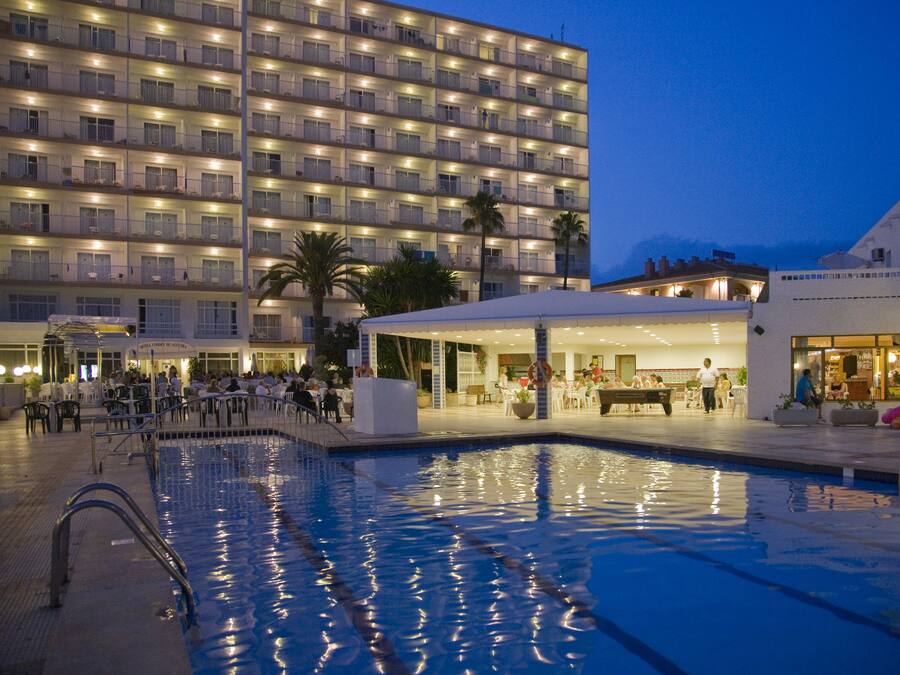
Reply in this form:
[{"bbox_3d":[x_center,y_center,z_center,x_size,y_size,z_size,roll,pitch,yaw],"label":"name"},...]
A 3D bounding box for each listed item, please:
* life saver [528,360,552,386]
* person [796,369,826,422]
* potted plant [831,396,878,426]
[{"bbox_3d":[2.595,0.966,23.821,0.751,0.762,0.479,-1,-3,28],"label":"life saver"},{"bbox_3d":[9.418,1.458,21.727,0.728,1.323,0.581,6,1,9],"label":"person"},{"bbox_3d":[10.202,1.915,20.906,0.758,0.522,1.010,-1,-4,25],"label":"potted plant"}]
